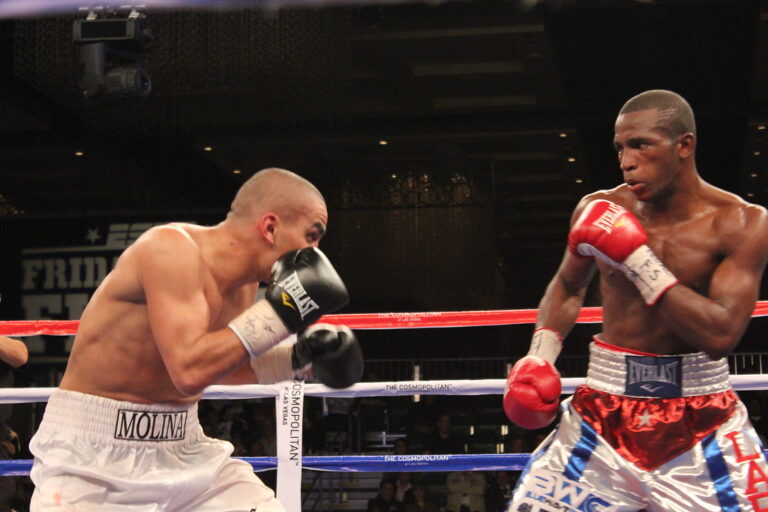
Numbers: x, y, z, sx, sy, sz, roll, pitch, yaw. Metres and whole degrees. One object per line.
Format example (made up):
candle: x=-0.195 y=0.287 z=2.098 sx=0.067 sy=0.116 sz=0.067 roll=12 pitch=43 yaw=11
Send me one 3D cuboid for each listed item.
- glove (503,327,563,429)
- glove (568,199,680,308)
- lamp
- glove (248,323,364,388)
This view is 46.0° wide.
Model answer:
glove: x=0.839 y=0.669 z=4.871 sx=0.342 sy=0.498 sz=0.273 roll=10 pitch=-31 yaw=13
glove: x=1.315 y=-0.013 z=4.829 sx=0.655 sy=0.406 sz=0.249 roll=39 pitch=-16 yaw=19
lamp: x=-2.429 y=-1.802 z=8.223 sx=0.841 sy=0.704 sz=0.780 roll=3 pitch=0 yaw=-13
glove: x=-0.408 y=0.523 z=4.799 sx=0.514 sy=0.260 sz=0.260 roll=-6 pitch=14 yaw=7
